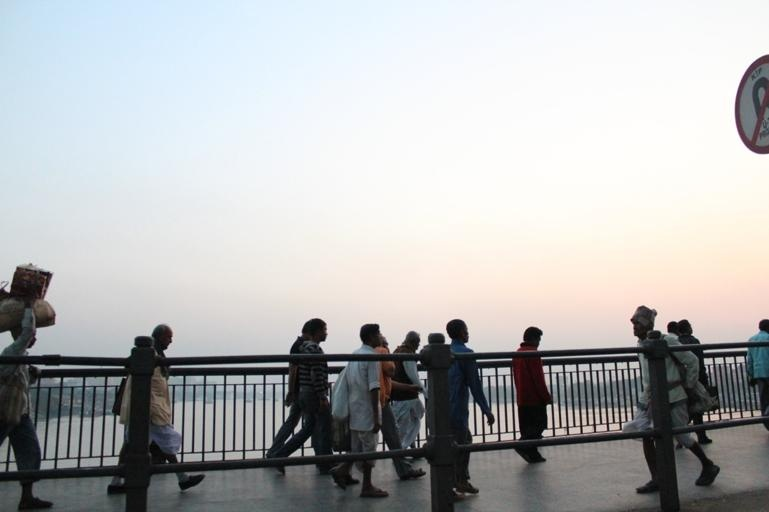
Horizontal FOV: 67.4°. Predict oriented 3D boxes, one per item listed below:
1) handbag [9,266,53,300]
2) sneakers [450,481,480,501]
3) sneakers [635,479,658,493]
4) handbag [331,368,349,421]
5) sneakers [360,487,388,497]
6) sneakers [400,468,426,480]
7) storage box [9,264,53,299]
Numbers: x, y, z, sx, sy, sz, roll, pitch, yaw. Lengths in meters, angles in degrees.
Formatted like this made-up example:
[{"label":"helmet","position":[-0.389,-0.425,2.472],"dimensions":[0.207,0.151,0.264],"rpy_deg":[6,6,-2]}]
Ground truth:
[{"label":"handbag","position":[-4.561,0.341,7.420],"dimensions":[0.479,0.373,0.478],"rpy_deg":[13,-6,-25]},{"label":"sneakers","position":[1.044,3.010,7.455],"dimensions":[0.285,0.168,0.541],"rpy_deg":[-4,-10,11]},{"label":"sneakers","position":[3.262,2.910,7.287],"dimensions":[0.320,0.188,0.112],"rpy_deg":[-1,-14,-6]},{"label":"handbag","position":[-0.599,1.976,8.126],"dimensions":[0.310,0.736,0.242],"rpy_deg":[8,0,5]},{"label":"sneakers","position":[-0.139,3.134,7.723],"dimensions":[0.358,0.136,0.131],"rpy_deg":[-1,-14,3]},{"label":"sneakers","position":[0.431,3.367,8.899],"dimensions":[0.460,0.187,0.151],"rpy_deg":[11,-20,-26]},{"label":"storage box","position":[-4.454,0.322,7.455],"dimensions":[0.508,0.375,0.502],"rpy_deg":[9,-2,-30]}]
